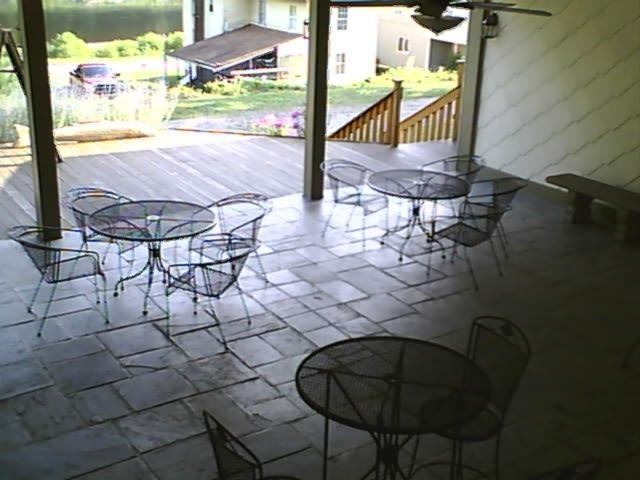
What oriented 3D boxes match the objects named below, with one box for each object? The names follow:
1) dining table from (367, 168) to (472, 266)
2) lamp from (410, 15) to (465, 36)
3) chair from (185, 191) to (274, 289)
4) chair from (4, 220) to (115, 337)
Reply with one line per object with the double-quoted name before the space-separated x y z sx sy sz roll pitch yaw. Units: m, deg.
"dining table" 1.209 -0.367 6.907 1.420 0.721 1.167 6 -9 1
"lamp" 0.918 -1.659 4.161 0.505 0.139 0.190 -11 27 -28
"chair" -1.204 0.046 6.893 0.995 1.064 0.830 27 54 15
"chair" -2.779 0.439 5.742 1.072 0.973 0.849 -14 41 -31
